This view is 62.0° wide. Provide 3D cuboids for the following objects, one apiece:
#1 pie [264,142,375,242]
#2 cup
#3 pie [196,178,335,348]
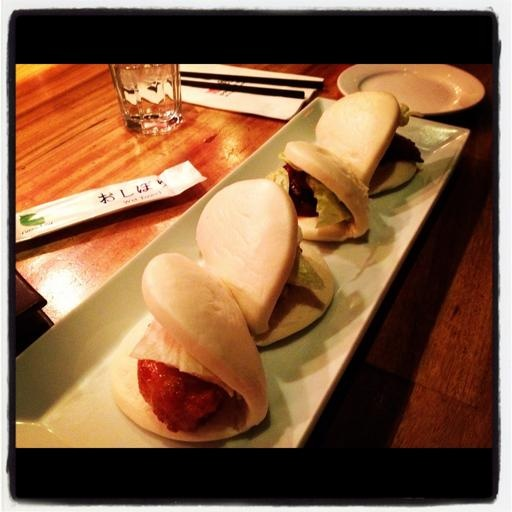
[{"bbox_3d":[0.137,-0.147,1.117,0.245,0.249,0.238,-18,36,-27],"label":"pie"},{"bbox_3d":[-0.312,-0.501,1.382,0.191,0.272,0.240,7,44,5],"label":"cup"},{"bbox_3d":[0.033,0.010,0.956,0.267,0.336,0.332,-14,36,-23],"label":"pie"}]
